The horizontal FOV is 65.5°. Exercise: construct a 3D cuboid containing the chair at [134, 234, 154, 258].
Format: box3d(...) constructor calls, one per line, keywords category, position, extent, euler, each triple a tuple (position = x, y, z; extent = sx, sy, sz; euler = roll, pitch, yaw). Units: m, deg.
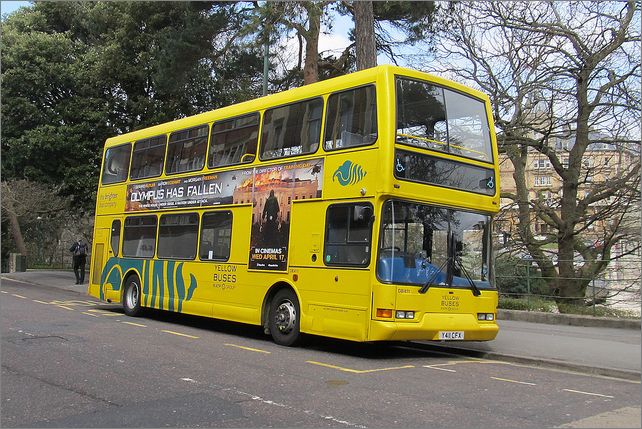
box3d(category="chair", position=(-5.900, 1.068, 16.859), extent=(0.702, 0.706, 0.717), euler=(3, 1, 5))
